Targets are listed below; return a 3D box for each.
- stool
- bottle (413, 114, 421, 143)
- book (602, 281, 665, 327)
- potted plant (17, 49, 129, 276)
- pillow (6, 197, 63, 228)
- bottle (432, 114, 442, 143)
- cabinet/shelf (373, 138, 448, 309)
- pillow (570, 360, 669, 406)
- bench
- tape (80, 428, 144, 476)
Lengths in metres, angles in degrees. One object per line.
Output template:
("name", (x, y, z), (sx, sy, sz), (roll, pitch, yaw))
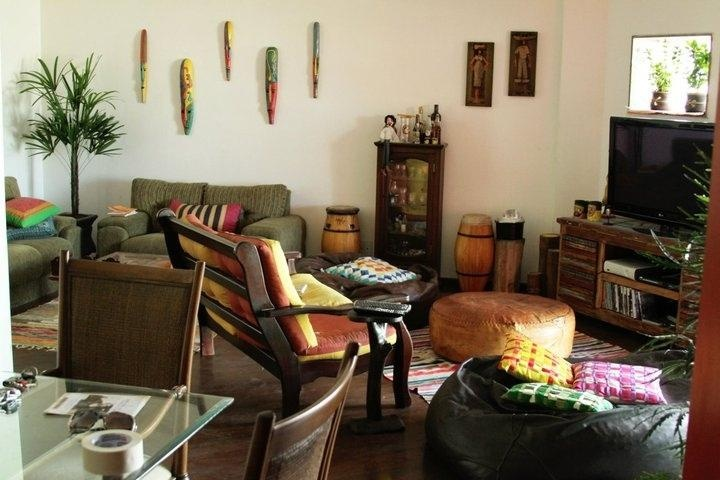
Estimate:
("stool", (1.075, 0.644, 4.250), (1.011, 0.486, 0.960), (2, 7, 1))
("bottle", (0.620, -1.200, 5.613), (0.091, 0.314, 0.214), (0, 9, 5))
("book", (2.313, 0.539, 4.492), (0.224, 0.272, 0.500), (-3, 11, -20))
("potted plant", (-3.335, -0.867, 6.164), (1.075, 2.112, 1.042), (3, 8, 2))
("pillow", (-3.271, -0.263, 5.217), (0.353, 0.151, 0.353), (14, 22, 18))
("bottle", (0.827, -1.191, 5.603), (0.100, 0.316, 0.279), (0, 9, 8))
("cabinet/shelf", (0.553, -0.205, 5.779), (0.752, 1.733, 0.632), (3, 9, 11))
("pillow", (1.415, 0.797, 2.872), (0.520, 0.121, 0.472), (2, 14, 10))
("bench", (-0.307, 0.301, 3.528), (1.410, 1.263, 1.676), (-4, 10, -32))
("tape", (-0.680, 0.562, 1.426), (0.130, 0.086, 0.125), (1, 5, -19))
